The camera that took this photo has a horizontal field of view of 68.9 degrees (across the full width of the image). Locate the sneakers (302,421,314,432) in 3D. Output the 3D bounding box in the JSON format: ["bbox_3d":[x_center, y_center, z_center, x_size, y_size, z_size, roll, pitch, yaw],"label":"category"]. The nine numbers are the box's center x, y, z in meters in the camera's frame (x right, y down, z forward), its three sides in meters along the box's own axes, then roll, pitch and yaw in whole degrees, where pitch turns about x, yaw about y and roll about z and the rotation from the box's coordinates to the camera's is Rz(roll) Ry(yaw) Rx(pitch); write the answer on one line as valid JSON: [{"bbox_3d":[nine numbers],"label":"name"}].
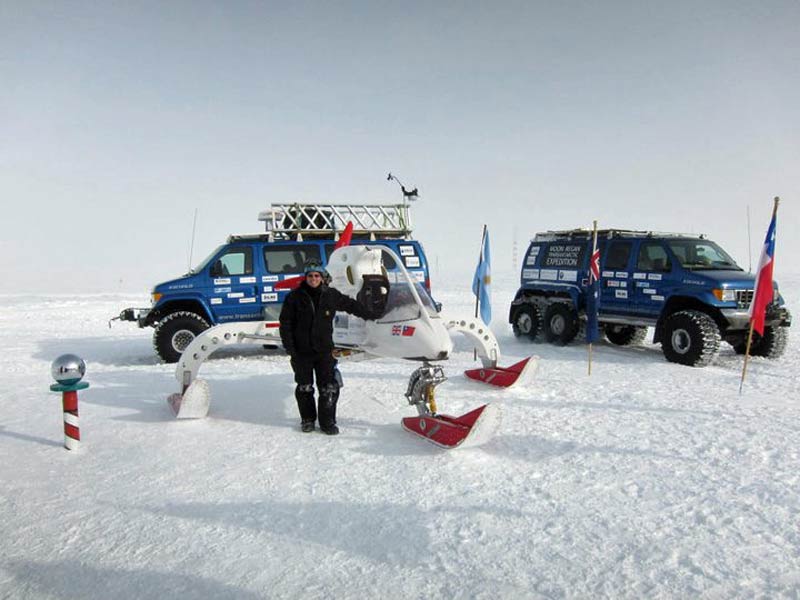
[{"bbox_3d":[-1.121,1.553,7.114,0.087,0.104,0.151,4,-15,-25],"label":"sneakers"}]

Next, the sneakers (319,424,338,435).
[{"bbox_3d":[-0.871,1.575,7.077,0.246,0.107,0.091,-4,0,40],"label":"sneakers"}]

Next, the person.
[{"bbox_3d":[-0.857,0.591,7.118,1.162,1.987,0.665,-3,12,-14],"label":"person"}]
